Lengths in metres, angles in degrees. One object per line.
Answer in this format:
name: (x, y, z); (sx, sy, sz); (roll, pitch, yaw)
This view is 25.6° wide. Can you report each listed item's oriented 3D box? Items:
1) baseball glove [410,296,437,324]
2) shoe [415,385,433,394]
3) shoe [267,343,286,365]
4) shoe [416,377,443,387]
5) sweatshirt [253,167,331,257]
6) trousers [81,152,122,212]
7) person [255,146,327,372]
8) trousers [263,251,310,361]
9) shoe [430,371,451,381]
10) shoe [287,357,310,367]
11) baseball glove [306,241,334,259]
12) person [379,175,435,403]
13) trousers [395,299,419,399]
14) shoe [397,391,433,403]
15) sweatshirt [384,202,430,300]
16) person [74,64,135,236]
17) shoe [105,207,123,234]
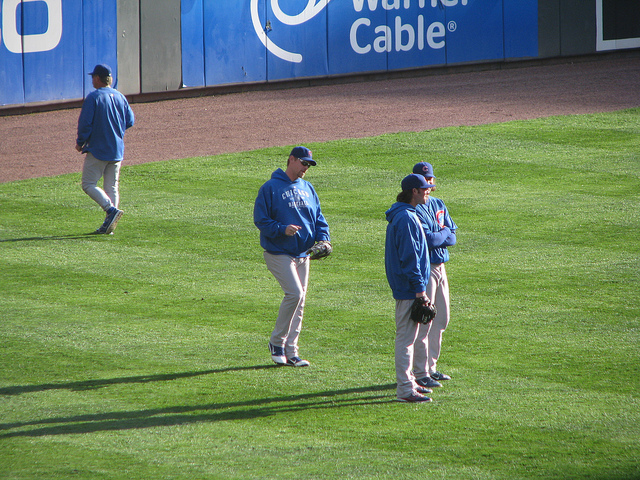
baseball glove: (1.335, 0.901, 17.832); (0.277, 0.318, 0.358); (27, 9, -7)
shoe: (1.363, 1.928, 18.077); (0.244, 0.101, 0.081); (5, 33, 14)
shoe: (-0.537, 1.519, 18.637); (0.126, 0.364, 0.164); (-17, -18, -19)
shoe: (1.436, 1.837, 18.186); (0.366, 0.142, 0.121); (1, 10, -1)
sweatshirt: (-0.356, -0.342, 18.693); (0.986, 1.163, 0.543); (-3, 7, -10)
trousers: (-3.432, -0.990, 22.286); (0.598, 1.268, 0.531); (-7, 19, -21)
person: (-0.323, 0.242, 18.686); (0.954, 2.899, 0.631); (-4, 7, -18)
trousers: (-0.409, 0.854, 18.732); (0.543, 1.419, 0.440); (-1, 7, 3)
shoe: (1.614, 1.765, 18.374); (0.283, 0.109, 0.098); (1, 20, 4)
shoe: (-0.267, 1.613, 18.693); (0.303, 0.124, 0.109); (2, 4, 1)
baseball glove: (0.058, 0.147, 18.857); (0.186, 0.112, 0.294); (-2, 18, 41)
person: (1.193, 0.619, 18.026); (0.594, 2.865, 0.582); (-3, 7, -9)
trousers: (1.136, 1.388, 17.946); (0.276, 1.256, 0.207); (-1, 7, 9)
shoe: (1.248, 2.017, 17.939); (0.444, 0.182, 0.156); (-1, 6, 0)
sweatshirt: (1.136, 0.146, 17.941); (0.550, 1.215, 0.374); (-1, 7, 10)
person: (-3.399, -1.401, 22.219); (0.845, 2.655, 0.514); (-3, 7, -9)
shoe: (-3.248, -0.320, 22.148); (0.242, 0.505, 0.173); (20, 43, -1)
